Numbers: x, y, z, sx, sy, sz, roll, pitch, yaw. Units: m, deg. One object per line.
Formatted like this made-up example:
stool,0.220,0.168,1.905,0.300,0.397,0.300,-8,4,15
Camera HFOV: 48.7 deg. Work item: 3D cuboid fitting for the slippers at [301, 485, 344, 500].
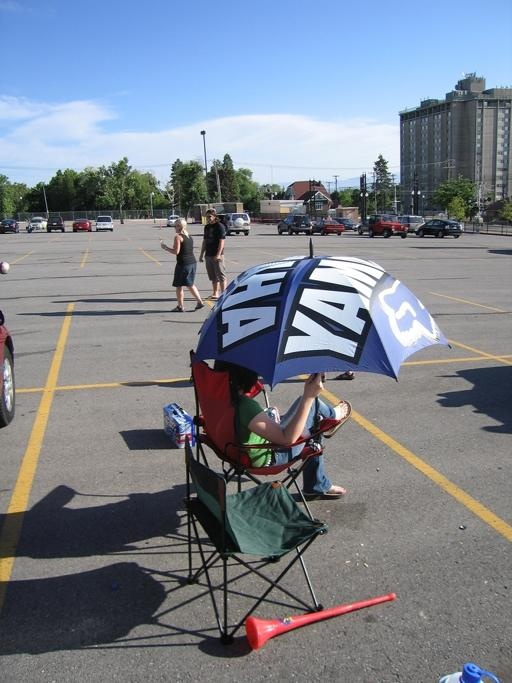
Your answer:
slippers,0.465,1.081,3.949,0.275,0.108,0.109,-6,13,0

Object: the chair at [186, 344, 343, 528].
chair,0.133,0.547,3.275,1.102,0.942,0.888,-5,10,-16

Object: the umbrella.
umbrella,0.343,-0.235,3.107,1.352,0.446,1.331,-12,22,-17

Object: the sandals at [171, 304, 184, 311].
sandals,-1.627,-0.684,11.843,0.108,0.124,0.320,-3,8,-24

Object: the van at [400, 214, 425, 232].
van,13.475,-9.911,48.626,1.639,1.543,2.822,0,29,6

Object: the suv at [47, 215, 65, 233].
suv,-21.758,-12.817,61.790,1.708,1.470,3.026,-2,15,-9

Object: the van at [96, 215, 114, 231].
van,-16.699,-13.103,62.332,1.679,1.449,2.982,-2,5,-12

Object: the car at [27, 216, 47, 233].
car,-24.352,-12.919,62.953,1.998,1.622,3.422,-3,18,-16

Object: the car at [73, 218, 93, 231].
car,-18.932,-12.797,61.815,1.269,0.931,2.830,-3,14,-10

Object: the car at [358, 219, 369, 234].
car,9.385,-9.956,49.225,0.999,0.869,1.551,4,29,8

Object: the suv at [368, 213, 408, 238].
suv,10.383,-9.195,44.949,2.681,1.831,3.100,1,11,9

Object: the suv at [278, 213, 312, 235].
suv,3.273,-9.979,48.018,1.992,1.726,5.614,-3,11,-9

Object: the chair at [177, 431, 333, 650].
chair,-0.021,0.949,3.006,0.769,1.021,0.822,-9,17,-21
